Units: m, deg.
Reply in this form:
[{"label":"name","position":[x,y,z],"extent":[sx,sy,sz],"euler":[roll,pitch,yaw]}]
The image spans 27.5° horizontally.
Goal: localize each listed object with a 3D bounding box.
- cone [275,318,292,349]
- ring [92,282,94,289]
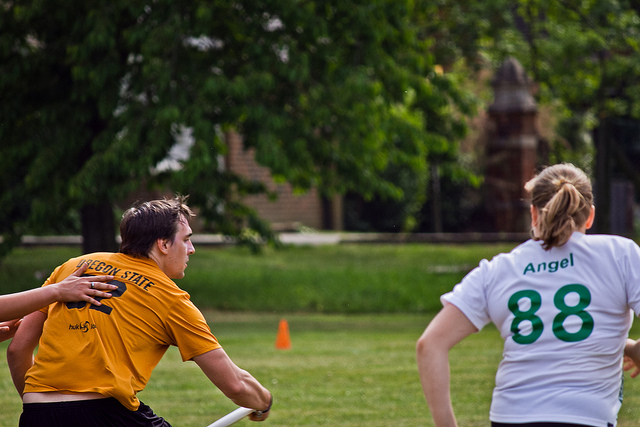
[{"label":"cone","position":[-0.424,1.304,14.359],"extent":[0.234,0.453,0.246],"euler":[-1,0,-4]},{"label":"ring","position":[-1.572,0.485,9.012],"extent":[0.020,0.041,0.024],"euler":[0,4,-36]}]
